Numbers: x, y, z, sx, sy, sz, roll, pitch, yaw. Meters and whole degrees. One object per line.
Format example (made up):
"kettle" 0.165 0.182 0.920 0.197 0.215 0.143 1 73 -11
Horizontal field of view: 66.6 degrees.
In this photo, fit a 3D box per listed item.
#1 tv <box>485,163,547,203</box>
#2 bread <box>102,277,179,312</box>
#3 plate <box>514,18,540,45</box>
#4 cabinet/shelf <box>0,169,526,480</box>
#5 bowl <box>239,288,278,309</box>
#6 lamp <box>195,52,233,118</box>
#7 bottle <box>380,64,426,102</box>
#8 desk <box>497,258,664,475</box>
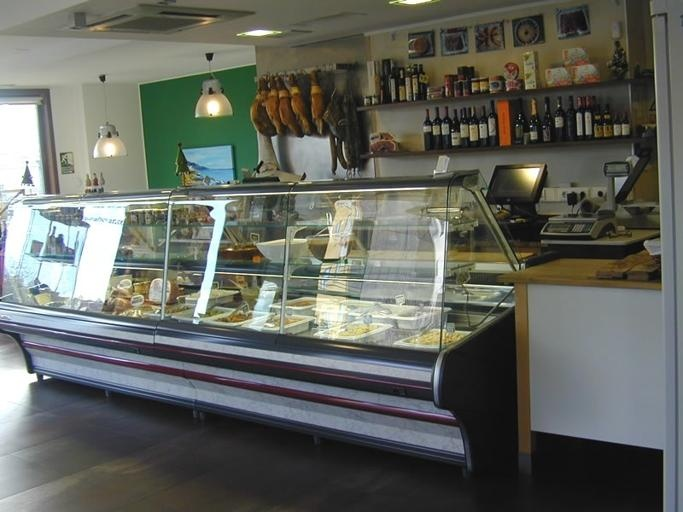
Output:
"tv" 1.542 -0.634 4.566 0.587 0.441 0.219 4 -7 33
"bread" -1.359 0.263 3.541 0.431 0.131 0.301 1 7 17
"plate" 1.728 -2.084 4.877 0.238 0.217 0.082 -5 -5 32
"cabinet/shelf" -0.652 0.308 3.275 3.303 1.548 0.655 2 12 28
"bowl" -0.486 0.252 3.133 0.170 0.066 0.186 0 4 0
"lamp" -1.613 -2.142 6.545 0.504 0.734 0.472 -11 21 -21
"bottle" 0.656 -1.794 5.437 0.543 0.437 0.172 0 -2 34
"desk" 1.225 0.483 2.883 0.901 1.044 0.970 1 7 26
